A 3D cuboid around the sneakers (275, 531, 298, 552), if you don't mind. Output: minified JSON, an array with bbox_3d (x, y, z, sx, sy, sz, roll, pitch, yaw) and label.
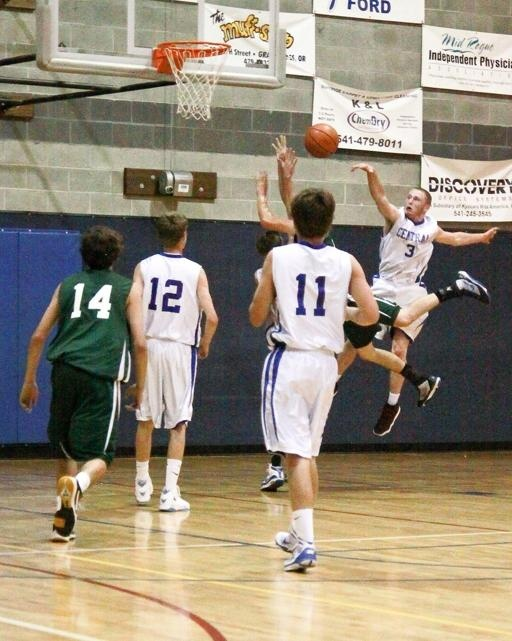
[{"bbox_3d":[0.116,0.937,4.103,0.066,0.069,0.170,6,16,-13],"label":"sneakers"}]

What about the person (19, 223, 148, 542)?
[{"bbox_3d":[-0.846,0.372,4.390,0.479,1.167,0.596,5,11,26],"label":"person"}]

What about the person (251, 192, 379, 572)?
[{"bbox_3d":[0.209,0.213,3.850,0.375,1.451,0.465,9,13,42],"label":"person"}]

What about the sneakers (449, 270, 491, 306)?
[{"bbox_3d":[1.794,-0.277,8.278,0.388,0.140,0.174,41,58,11],"label":"sneakers"}]

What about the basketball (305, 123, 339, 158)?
[{"bbox_3d":[0.445,-1.241,6.702,0.215,0.224,0.275,2,10,7],"label":"basketball"}]

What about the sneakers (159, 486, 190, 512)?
[{"bbox_3d":[-0.463,1.023,5.493,0.173,0.137,0.174,0,10,-4],"label":"sneakers"}]

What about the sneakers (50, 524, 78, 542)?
[{"bbox_3d":[-0.853,0.946,4.318,0.054,0.066,0.149,0,-7,8],"label":"sneakers"}]

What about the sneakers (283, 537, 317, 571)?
[{"bbox_3d":[0.170,0.900,3.776,0.118,0.131,0.189,2,10,7],"label":"sneakers"}]
